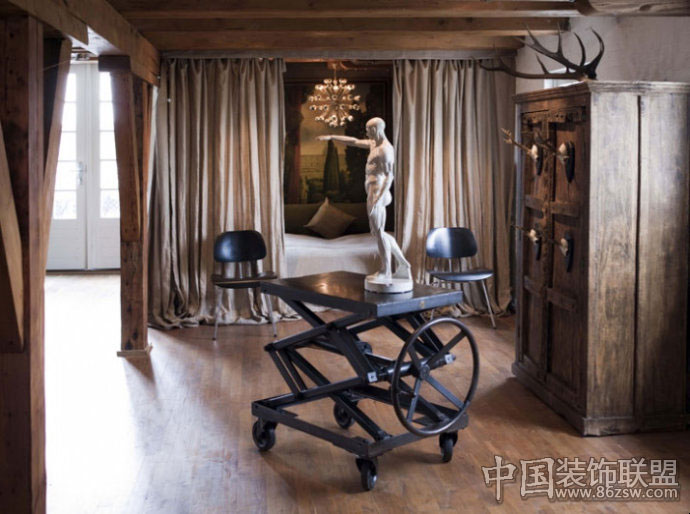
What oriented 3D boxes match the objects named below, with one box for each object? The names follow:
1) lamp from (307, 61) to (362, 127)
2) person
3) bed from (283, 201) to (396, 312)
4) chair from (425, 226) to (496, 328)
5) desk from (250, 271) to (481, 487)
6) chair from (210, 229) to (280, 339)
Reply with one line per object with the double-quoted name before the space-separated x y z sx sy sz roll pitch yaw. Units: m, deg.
"lamp" -0.129 -2.066 7.697 0.724 0.804 0.662 -1 11 -4
"person" 0.178 -0.327 3.675 0.520 1.028 0.714 -1 11 -5
"bed" -0.166 -0.095 7.136 1.302 0.921 1.375 -2 5 -9
"chair" 1.111 0.222 5.898 0.645 0.980 0.739 -1 5 8
"desk" 0.081 0.721 3.762 0.806 1.057 1.240 -4 6 -45
"chair" -1.002 0.285 5.792 0.612 0.996 0.672 -4 9 -28
